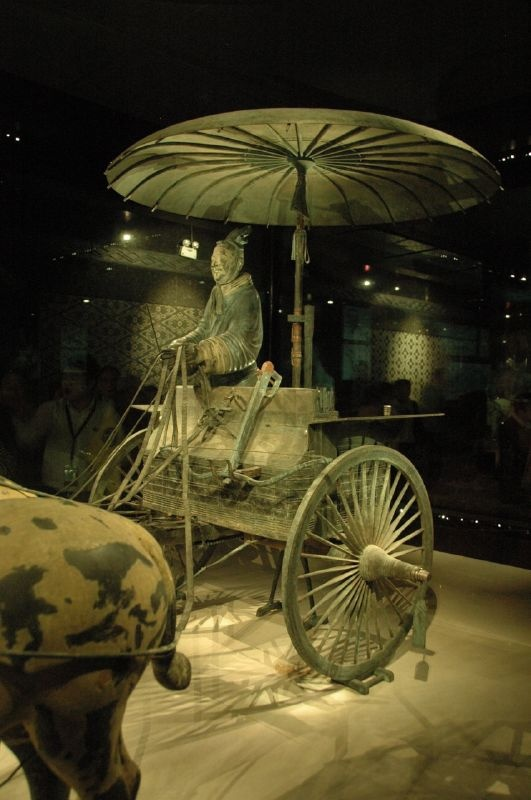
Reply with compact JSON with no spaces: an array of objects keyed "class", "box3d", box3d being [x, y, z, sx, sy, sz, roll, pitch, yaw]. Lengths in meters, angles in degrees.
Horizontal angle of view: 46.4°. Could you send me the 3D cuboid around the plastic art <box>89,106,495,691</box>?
[{"class":"plastic art","box3d":[0.157,-0.014,3.199,1.867,2.607,1.731,0,-1,-15]}]
